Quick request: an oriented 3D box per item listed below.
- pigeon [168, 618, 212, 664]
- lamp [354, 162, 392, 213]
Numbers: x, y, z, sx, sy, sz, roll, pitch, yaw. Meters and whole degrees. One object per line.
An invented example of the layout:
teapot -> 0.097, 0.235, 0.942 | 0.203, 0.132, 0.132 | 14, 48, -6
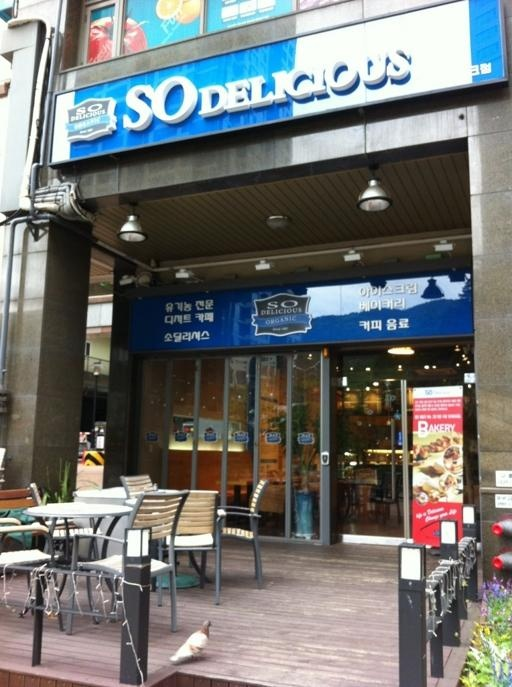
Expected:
pigeon -> -0.304, 1.492, 3.059 | 0.147, 0.173, 0.318 | -3, -12, 20
lamp -> 1.151, -1.566, 6.011 | 0.431, 0.589, 0.408 | 1, -12, 2
